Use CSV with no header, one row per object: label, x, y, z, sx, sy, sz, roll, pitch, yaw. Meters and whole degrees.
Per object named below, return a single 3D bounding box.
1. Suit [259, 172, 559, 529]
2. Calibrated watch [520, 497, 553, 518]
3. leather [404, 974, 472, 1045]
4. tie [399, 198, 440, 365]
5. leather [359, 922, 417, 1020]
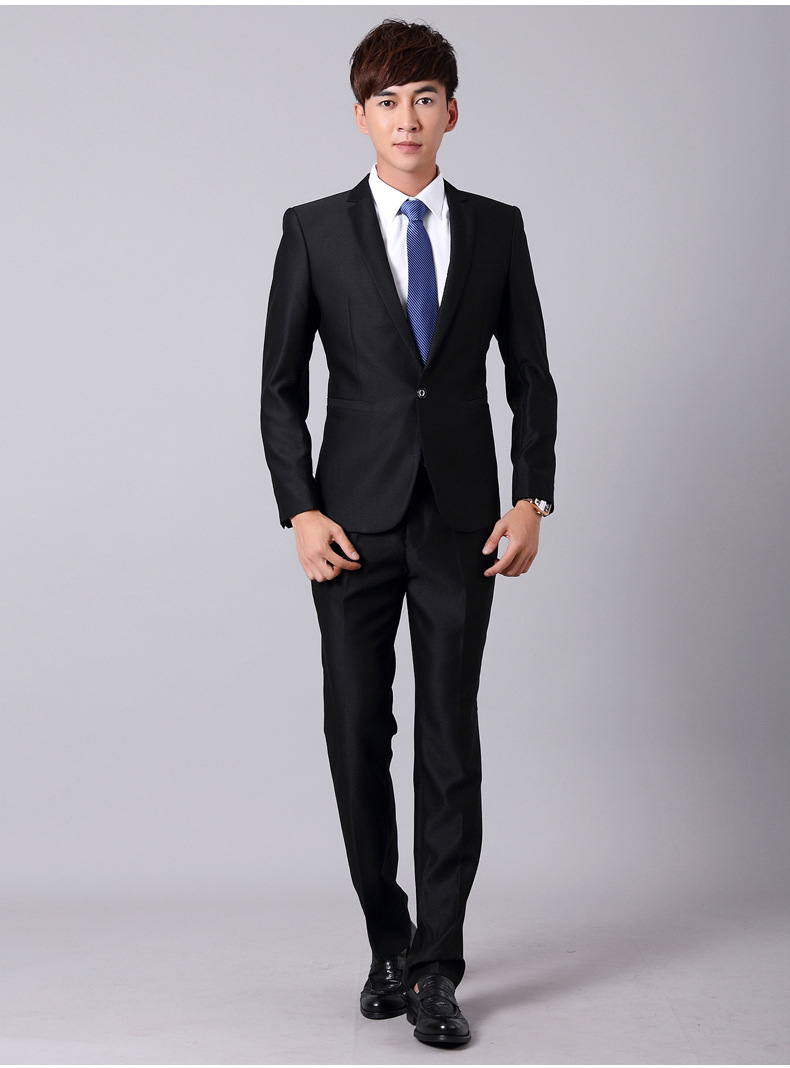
Suit,0.027,-0.283,1.704,0.474,0.579,0.212,0,-5,-7
Calibrated watch,0.228,-0.039,1.726,0.044,0.027,0.046,-5,-22,38
leather,0.068,0.725,1.611,0.088,0.096,0.098,-1,-5,7
tie,0.044,-0.384,1.634,0.047,0.250,0.031,0,-4,-14
leather,-0.011,0.748,1.742,0.059,0.068,0.157,-2,-12,7
